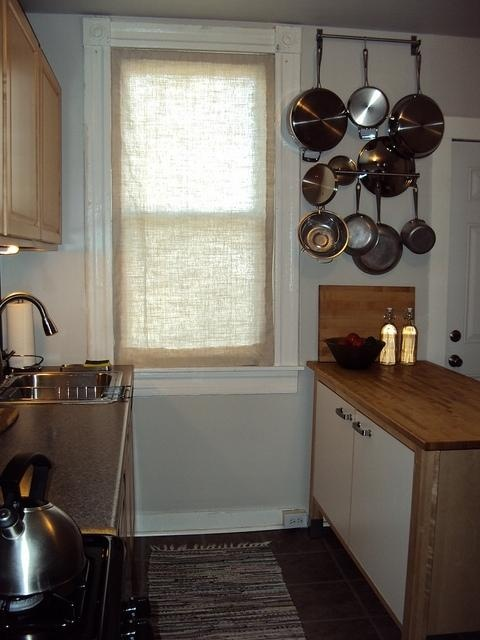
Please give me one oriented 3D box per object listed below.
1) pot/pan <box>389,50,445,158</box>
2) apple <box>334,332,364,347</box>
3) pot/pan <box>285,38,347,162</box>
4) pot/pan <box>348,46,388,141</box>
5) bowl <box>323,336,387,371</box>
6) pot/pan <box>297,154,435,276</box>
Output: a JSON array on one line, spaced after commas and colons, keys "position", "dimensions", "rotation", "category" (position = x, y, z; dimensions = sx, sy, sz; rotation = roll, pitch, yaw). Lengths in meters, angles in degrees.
[{"position": [0.830, -0.907, 2.494], "dimensions": [0.241, 0.277, 0.137], "rotation": [0, 5, -4], "category": "pot/pan"}, {"position": [0.498, 0.097, 2.369], "dimensions": [0.075, 0.049, 0.077], "rotation": [1, -1, -29], "category": "apple"}, {"position": [0.356, -0.972, 2.364], "dimensions": [0.263, 0.530, 0.073], "rotation": [-5, 12, -17], "category": "pot/pan"}, {"position": [0.595, -1.013, 2.447], "dimensions": [0.193, 0.406, 0.056], "rotation": [-3, 6, -11], "category": "pot/pan"}, {"position": [0.505, 0.140, 2.339], "dimensions": [0.168, 0.099, 0.176], "rotation": [0, -5, 0], "category": "bowl"}, {"position": [0.567, -0.443, 2.460], "dimensions": [0.597, 0.569, 0.131], "rotation": [-1, 5, -16], "category": "pot/pan"}]
